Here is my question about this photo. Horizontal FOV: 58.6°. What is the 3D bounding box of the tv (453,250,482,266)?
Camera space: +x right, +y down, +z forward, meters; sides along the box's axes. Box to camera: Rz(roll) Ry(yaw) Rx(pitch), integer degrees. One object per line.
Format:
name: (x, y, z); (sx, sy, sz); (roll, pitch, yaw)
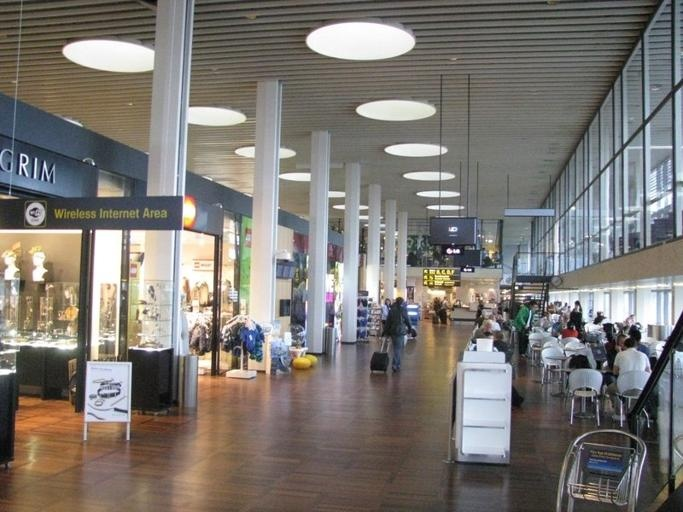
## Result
tv: (5.298, 0.062, 25.617); (1.055, 0.725, 0.776); (1, -1, 19)

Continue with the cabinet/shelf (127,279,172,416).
cabinet/shelf: (-3.071, 1.505, 9.765); (0.647, 1.905, 0.586); (-3, -5, -5)

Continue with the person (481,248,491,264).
person: (9.231, 0.085, 38.553); (0.336, 1.022, 1.070); (1, -1, 32)

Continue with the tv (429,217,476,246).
tv: (3.023, -0.655, 16.636); (1.324, 0.715, 0.811); (1, -4, 9)

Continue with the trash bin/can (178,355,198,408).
trash bin/can: (-2.515, 2.054, 9.984); (0.312, 0.642, 0.280); (2, -1, -17)

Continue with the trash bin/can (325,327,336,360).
trash bin/can: (-0.288, 2.384, 17.200); (0.353, 0.754, 0.341); (2, -1, -21)
